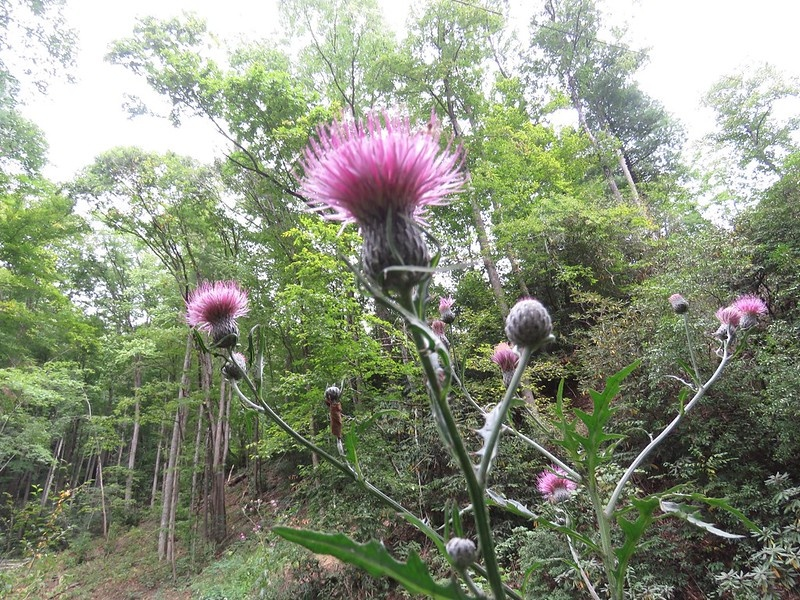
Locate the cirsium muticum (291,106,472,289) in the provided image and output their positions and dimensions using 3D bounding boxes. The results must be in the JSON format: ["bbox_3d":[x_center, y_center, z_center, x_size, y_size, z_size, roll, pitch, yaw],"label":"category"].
[{"bbox_3d":[-0.270,-1.641,7.270,2.291,2.139,1.122,-8,-27,-4],"label":"cirsium muticum"}]

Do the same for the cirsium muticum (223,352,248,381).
[{"bbox_3d":[-2.604,1.048,7.667,0.422,0.476,0.400,-1,-9,29],"label":"cirsium muticum"}]

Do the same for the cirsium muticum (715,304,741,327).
[{"bbox_3d":[5.529,0.278,8.154,0.316,0.339,0.330,0,-13,10],"label":"cirsium muticum"}]

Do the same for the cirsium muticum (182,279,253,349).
[{"bbox_3d":[-2.959,0.207,8.058,0.882,1.027,0.892,-10,-3,12],"label":"cirsium muticum"}]

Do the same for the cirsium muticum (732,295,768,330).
[{"bbox_3d":[5.951,0.165,8.258,0.585,0.634,0.585,16,-12,-37],"label":"cirsium muticum"}]

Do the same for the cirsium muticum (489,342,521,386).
[{"bbox_3d":[1.773,1.039,8.000,0.386,0.660,0.315,-25,-30,27],"label":"cirsium muticum"}]

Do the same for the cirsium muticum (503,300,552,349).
[{"bbox_3d":[1.911,0.328,7.566,0.612,0.798,0.791,9,24,10],"label":"cirsium muticum"}]

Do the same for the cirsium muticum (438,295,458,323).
[{"bbox_3d":[0.903,0.195,8.475,0.359,0.463,0.390,-7,-14,-15],"label":"cirsium muticum"}]

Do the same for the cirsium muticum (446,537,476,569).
[{"bbox_3d":[0.924,3.713,7.286,0.359,0.393,0.451,-2,-2,2],"label":"cirsium muticum"}]

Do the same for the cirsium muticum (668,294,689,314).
[{"bbox_3d":[4.742,0.069,8.228,0.214,0.387,0.226,-24,-30,27],"label":"cirsium muticum"}]
